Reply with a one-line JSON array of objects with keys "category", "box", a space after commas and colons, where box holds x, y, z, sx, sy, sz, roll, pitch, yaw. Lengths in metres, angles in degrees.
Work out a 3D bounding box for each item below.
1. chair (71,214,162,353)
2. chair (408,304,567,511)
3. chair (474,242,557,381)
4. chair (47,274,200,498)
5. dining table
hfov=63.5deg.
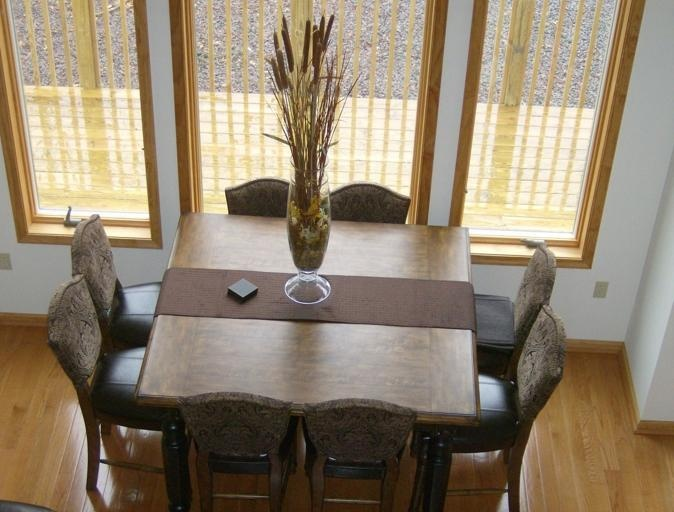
[{"category": "chair", "box": [-1.092, 0.250, 2.921, 0.499, 0.781, 0.447, -3, 44, -19]}, {"category": "chair", "box": [0.676, 0.707, 2.513, 0.555, 0.939, 0.494, 4, 45, 3]}, {"category": "chair", "box": [0.923, 0.287, 2.829, 0.365, 0.632, 0.366, 6, 52, 5]}, {"category": "chair", "box": [-1.019, 0.629, 2.664, 0.586, 0.990, 0.549, 1, 27, -16]}, {"category": "dining table", "box": [-0.073, 0.654, 3.046, 1.588, 1.232, 1.295, 2, 44, 1]}]
